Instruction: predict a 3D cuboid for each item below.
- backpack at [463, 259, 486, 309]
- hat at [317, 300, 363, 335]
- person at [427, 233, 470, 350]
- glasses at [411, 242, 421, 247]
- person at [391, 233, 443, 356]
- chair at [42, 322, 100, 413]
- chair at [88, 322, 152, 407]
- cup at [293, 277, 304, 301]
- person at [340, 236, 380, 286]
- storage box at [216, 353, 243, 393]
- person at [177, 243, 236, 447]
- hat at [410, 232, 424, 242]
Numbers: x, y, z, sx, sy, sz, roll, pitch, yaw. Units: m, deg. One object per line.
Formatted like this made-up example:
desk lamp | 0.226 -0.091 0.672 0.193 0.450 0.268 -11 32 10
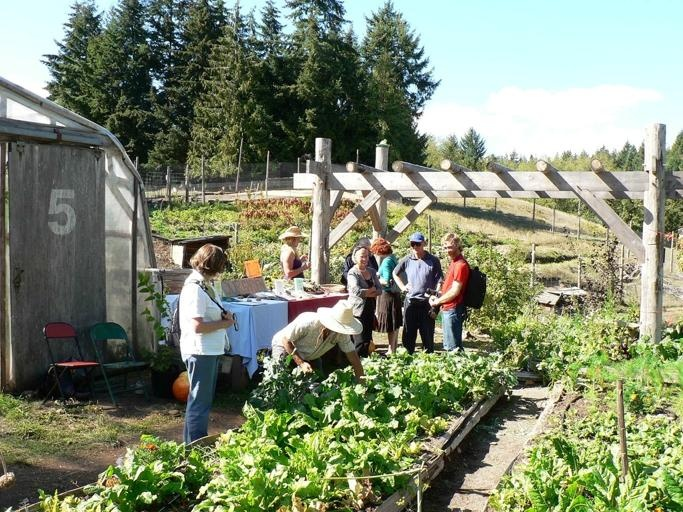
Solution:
backpack | 1.791 0.432 10.540 0.308 0.631 0.398 8 -3 6
hat | -0.013 0.611 8.384 0.495 0.278 0.501 18 17 14
person | 1.454 0.512 10.511 0.552 1.619 0.620 5 10 30
glasses | 1.033 -0.154 10.705 0.138 0.070 0.129 2 10 12
person | 1.077 0.651 10.911 0.645 2.072 0.540 0 23 7
chair | -3.681 1.443 10.381 0.648 1.071 0.584 2 -1 25
chair | -3.255 1.417 10.967 0.996 1.534 0.734 -8 -4 43
cup | -0.662 0.480 11.468 0.204 0.332 0.223 1 4 0
person | 0.269 0.092 11.589 0.732 0.840 0.443 9 15 43
storage box | -1.531 1.582 10.787 0.495 0.573 0.422 -1 -5 19
person | -1.444 0.944 8.109 0.584 2.107 0.577 -6 11 -36
hat | 1.041 -0.267 10.733 0.188 0.156 0.284 2 10 8
